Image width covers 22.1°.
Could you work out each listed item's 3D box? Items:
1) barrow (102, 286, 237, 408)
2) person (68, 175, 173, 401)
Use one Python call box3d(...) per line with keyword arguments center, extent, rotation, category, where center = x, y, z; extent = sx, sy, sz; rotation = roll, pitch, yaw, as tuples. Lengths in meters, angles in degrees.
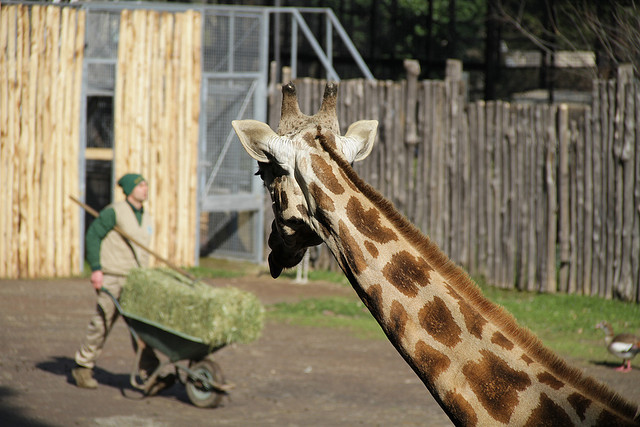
box3d(center=(-2.081, 1.830, 22.461), extent=(2.070, 1.258, 1.222), rotation=(15, 7, 19), category="barrow")
box3d(center=(-2.763, 0.981, 22.278), extent=(1.204, 3.038, 0.548), rotation=(2, 4, -10), category="person")
